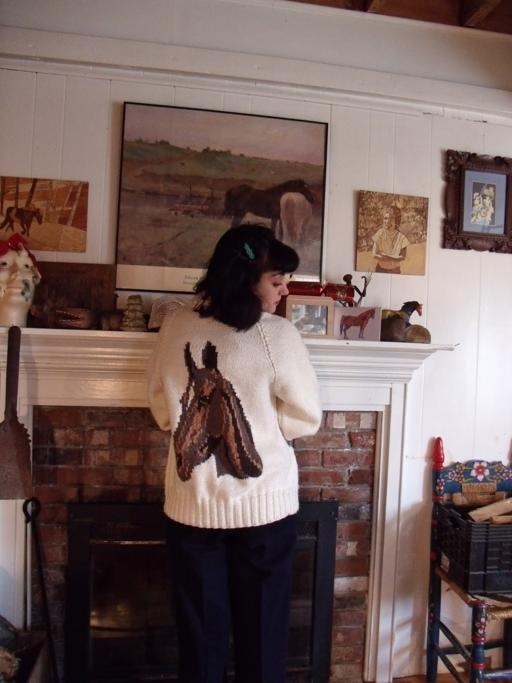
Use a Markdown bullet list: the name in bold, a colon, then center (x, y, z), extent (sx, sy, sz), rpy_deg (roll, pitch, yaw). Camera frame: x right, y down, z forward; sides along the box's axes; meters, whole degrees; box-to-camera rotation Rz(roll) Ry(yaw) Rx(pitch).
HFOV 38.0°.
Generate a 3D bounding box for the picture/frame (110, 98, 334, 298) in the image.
- **picture/frame**: center (-0.162, -0.511, 2.658), extent (0.863, 0.644, 0.028), rpy_deg (3, -4, -11)

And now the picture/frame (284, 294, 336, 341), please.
- **picture/frame**: center (0.180, -0.078, 2.517), extent (0.180, 0.140, 0.064), rpy_deg (1, -2, -9)
